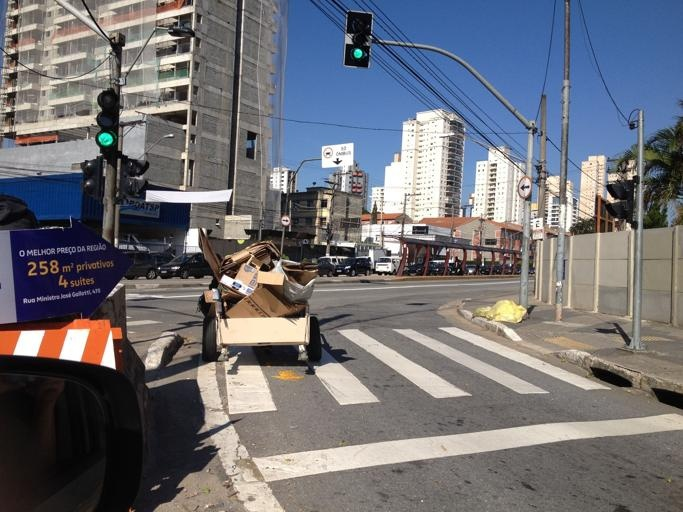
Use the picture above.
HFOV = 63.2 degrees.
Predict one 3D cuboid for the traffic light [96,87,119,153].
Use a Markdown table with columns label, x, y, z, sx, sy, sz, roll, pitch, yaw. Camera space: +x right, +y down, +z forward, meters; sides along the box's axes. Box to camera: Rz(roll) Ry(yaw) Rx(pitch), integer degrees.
| label | x | y | z | sx | sy | sz | roll | pitch | yaw |
| --- | --- | --- | --- | --- | --- | --- | --- | --- | --- |
| traffic light | -4.167 | -2.411 | 9.863 | 0.370 | 1.258 | 0.552 | 1 | 2 | -25 |

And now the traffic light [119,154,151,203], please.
| label | x | y | z | sx | sy | sz | roll | pitch | yaw |
| --- | --- | --- | --- | --- | --- | --- | --- | --- | --- |
| traffic light | -4.137 | -1.535 | 10.886 | 0.588 | 0.781 | 0.515 | -4 | -13 | -9 |

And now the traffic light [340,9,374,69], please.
| label | x | y | z | sx | sy | sz | roll | pitch | yaw |
| --- | --- | --- | --- | --- | --- | --- | --- | --- | --- |
| traffic light | 0.360 | -4.577 | 11.870 | 0.559 | 1.304 | 0.837 | 2 | 2 | 0 |
